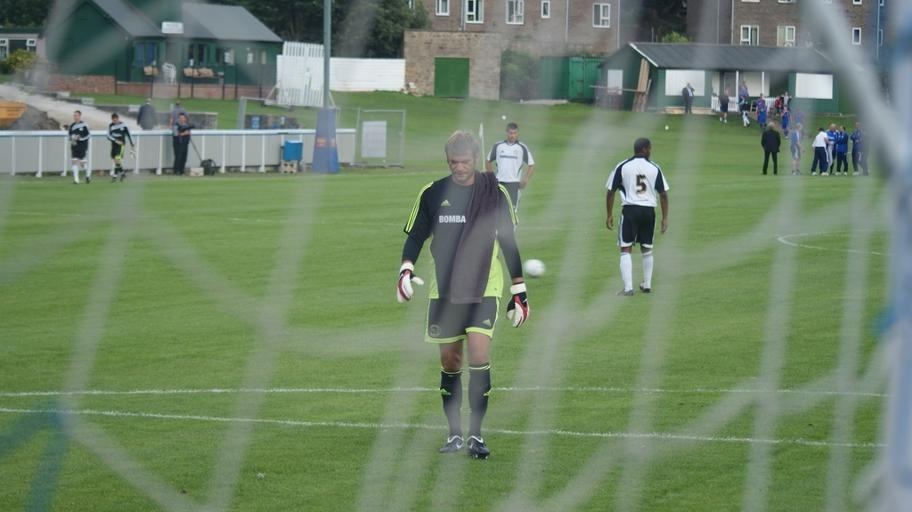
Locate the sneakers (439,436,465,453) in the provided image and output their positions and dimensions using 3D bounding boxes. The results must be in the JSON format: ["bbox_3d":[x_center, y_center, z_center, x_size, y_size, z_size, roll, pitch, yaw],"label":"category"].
[{"bbox_3d":[-0.079,2.694,20.093,0.331,0.138,0.177,0,-1,-34],"label":"sneakers"}]

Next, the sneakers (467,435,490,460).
[{"bbox_3d":[0.294,2.743,19.965,0.201,0.161,0.383,-1,-3,-14],"label":"sneakers"}]

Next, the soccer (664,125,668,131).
[{"bbox_3d":[8.224,-5.099,55.812,0.220,0.220,0.163,0,-5,0],"label":"soccer"}]

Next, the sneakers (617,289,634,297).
[{"bbox_3d":[3.010,0.661,25.305,0.255,0.108,0.093,1,0,-21],"label":"sneakers"}]

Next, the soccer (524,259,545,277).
[{"bbox_3d":[1.198,0.145,21.960,0.307,0.223,0.306,5,-6,7],"label":"soccer"}]

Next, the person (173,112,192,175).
[{"bbox_3d":[-8.013,-3.310,41.223,0.506,1.836,0.812,-1,7,-11],"label":"person"}]

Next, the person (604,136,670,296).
[{"bbox_3d":[3.265,-0.784,25.806,1.082,2.774,1.512,1,7,6],"label":"person"}]

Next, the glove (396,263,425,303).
[{"bbox_3d":[-0.681,0.295,20.132,0.423,0.256,0.716,-5,42,8],"label":"glove"}]

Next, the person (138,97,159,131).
[{"bbox_3d":[-9.480,-4.386,43.232,0.474,0.911,1.203,-1,8,-9],"label":"person"}]
